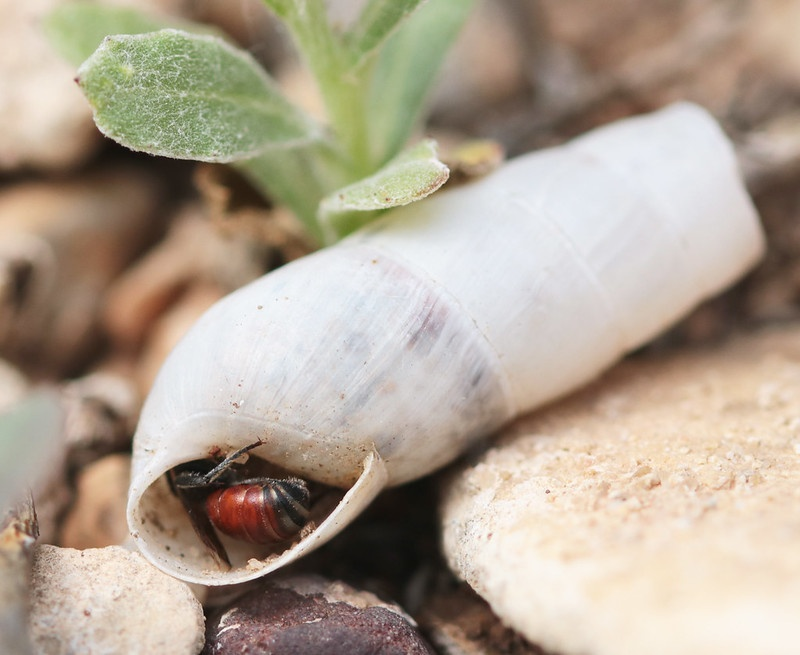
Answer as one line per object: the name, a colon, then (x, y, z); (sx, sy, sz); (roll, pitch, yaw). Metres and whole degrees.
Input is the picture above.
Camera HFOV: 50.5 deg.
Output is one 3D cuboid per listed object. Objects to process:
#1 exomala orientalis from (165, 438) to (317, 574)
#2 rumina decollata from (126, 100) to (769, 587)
exomala orientalis: (-0.184, 0.203, 0.987); (0.155, 0.084, 0.130); (-22, 75, -2)
rumina decollata: (-0.054, -0.039, 1.303); (0.880, 0.508, 0.616); (-17, 33, -22)
